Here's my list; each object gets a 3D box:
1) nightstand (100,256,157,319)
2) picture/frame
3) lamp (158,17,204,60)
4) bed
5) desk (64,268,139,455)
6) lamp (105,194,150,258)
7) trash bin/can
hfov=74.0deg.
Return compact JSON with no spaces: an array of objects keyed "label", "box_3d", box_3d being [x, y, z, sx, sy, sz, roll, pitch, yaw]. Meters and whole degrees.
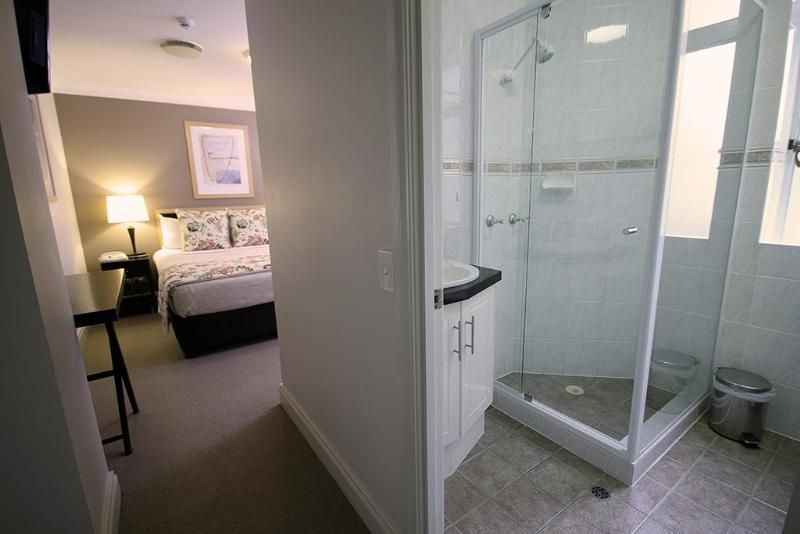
[{"label":"nightstand","box_3d":[-2.905,0.168,5.820,0.378,0.554,0.325,-12,20,-24]},{"label":"picture/frame","box_3d":[-2.224,-1.317,6.429,0.832,1.008,0.066,-17,26,-36]},{"label":"lamp","box_3d":[-1.880,-2.007,4.641,0.316,0.300,0.306,7,-6,-37]},{"label":"bed","box_3d":[-1.704,-0.051,5.735,1.710,0.920,2.341,-8,15,-23]},{"label":"desk","box_3d":[-1.999,0.659,3.551,0.396,0.903,1.032,-4,16,-16]},{"label":"lamp","box_3d":[-2.970,-0.472,5.839,0.409,0.660,0.360,-7,12,-26]},{"label":"trash bin/can","box_3d":[2.278,0.915,3.550,0.338,0.425,0.308,6,14,36]}]
